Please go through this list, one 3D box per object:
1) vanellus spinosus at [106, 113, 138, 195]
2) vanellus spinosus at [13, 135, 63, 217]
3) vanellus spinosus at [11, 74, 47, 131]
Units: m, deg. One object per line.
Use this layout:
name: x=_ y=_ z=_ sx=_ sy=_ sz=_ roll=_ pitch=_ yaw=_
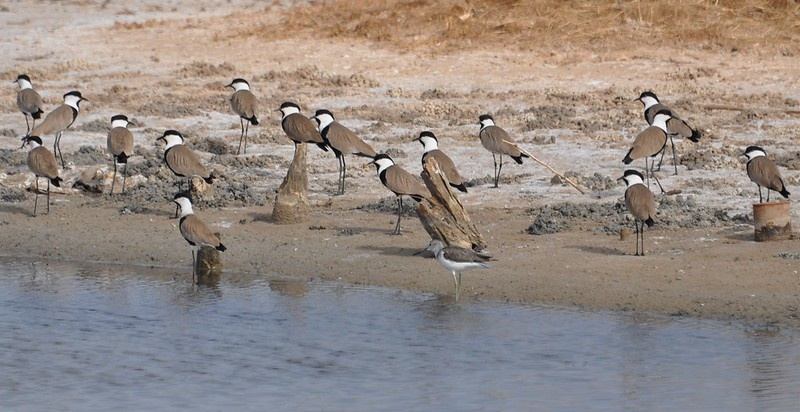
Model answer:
vanellus spinosus: x=-9.469 y=-1.840 z=35.351 sx=1.082 sy=2.513 sz=1.590 roll=-1 pitch=4 yaw=-19
vanellus spinosus: x=-12.002 y=-0.958 z=34.809 sx=1.260 sy=2.285 sz=2.666 roll=-23 pitch=51 yaw=-14
vanellus spinosus: x=-13.807 y=-3.916 z=38.960 sx=1.073 sy=1.827 sz=2.084 roll=-6 pitch=20 yaw=-39
